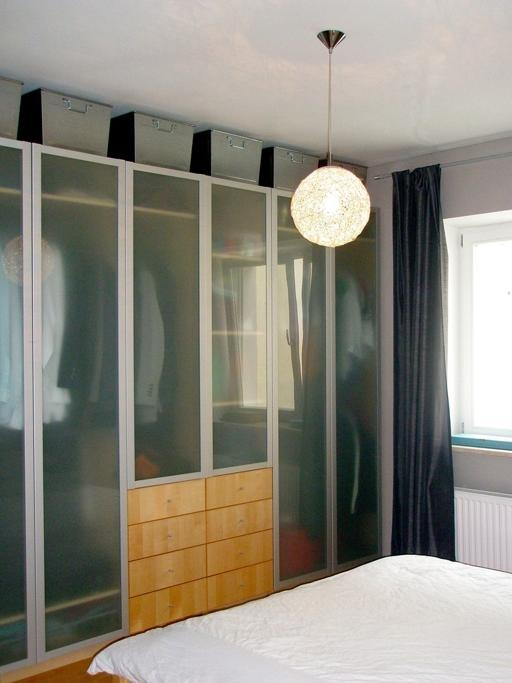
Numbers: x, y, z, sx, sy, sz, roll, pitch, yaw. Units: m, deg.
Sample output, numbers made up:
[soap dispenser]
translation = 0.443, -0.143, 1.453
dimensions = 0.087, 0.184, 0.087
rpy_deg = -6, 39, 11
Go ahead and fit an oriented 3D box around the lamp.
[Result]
[lamp]
translation = 0.279, -0.722, 2.131
dimensions = 0.253, 0.859, 0.912
rpy_deg = -1, -5, 10
